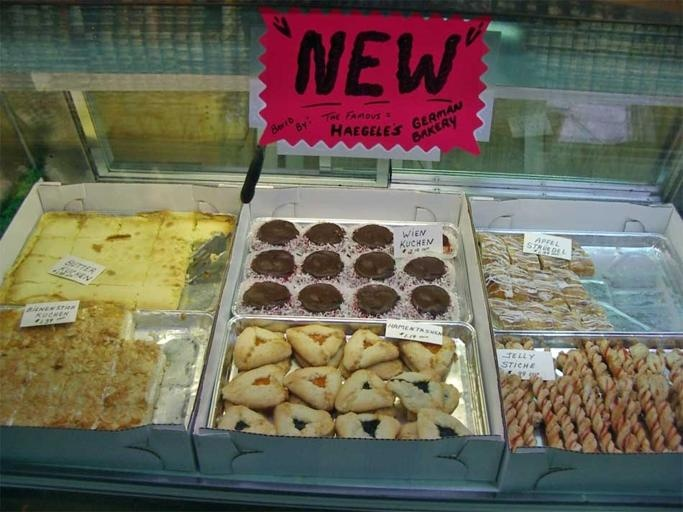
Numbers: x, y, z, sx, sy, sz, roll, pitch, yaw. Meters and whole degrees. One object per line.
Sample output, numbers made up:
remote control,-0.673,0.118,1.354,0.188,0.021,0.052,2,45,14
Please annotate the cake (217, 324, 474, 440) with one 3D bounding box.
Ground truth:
cake,0.006,0.535,2.246,1.018,0.238,0.641,1,40,4
